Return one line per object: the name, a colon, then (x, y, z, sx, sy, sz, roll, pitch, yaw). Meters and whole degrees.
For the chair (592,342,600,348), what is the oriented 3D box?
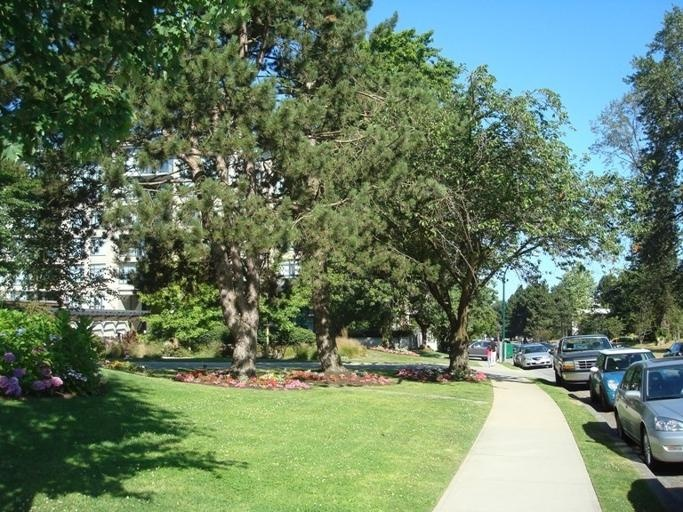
chair: (11.158, 3.971, 25.952, 0.179, 0.313, 0.313, 8, -9, 31)

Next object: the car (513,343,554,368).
car: (13.381, 7.159, 41.315, 1.889, 1.698, 3.115, 7, -3, 9)

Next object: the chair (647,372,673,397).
chair: (6.797, 2.764, 12.494, 0.585, 0.514, 0.578, 6, -2, 30)
